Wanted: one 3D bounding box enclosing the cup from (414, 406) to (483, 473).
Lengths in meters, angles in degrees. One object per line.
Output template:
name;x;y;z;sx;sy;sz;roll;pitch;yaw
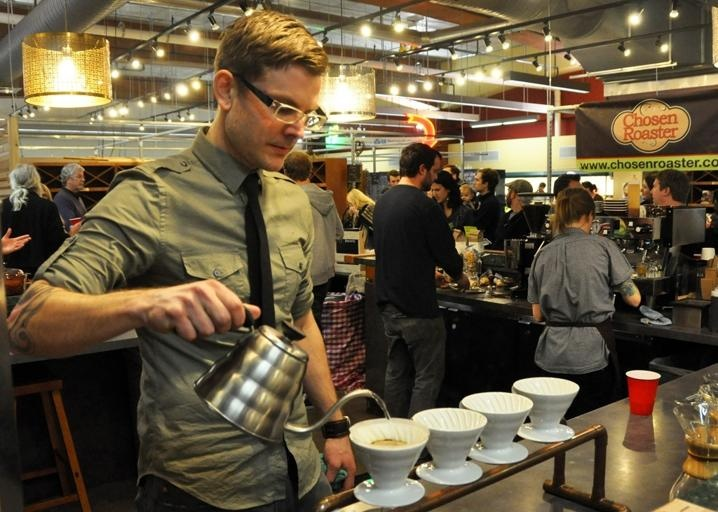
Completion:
cup;0.217;0.430;1.321;0.169;0.085;0.139;-1;-1;0

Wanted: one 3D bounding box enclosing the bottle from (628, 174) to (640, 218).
bottle;2.102;-0.428;4.152;0.101;0.253;0.072;0;3;23

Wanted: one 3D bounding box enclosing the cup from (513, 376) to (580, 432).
cup;0.527;0.436;1.545;0.203;0.128;0.203;4;-12;1

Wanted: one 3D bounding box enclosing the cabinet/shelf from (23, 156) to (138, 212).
cabinet/shelf;-5.772;-1.390;11.592;2.419;1.186;0.726;0;1;-2

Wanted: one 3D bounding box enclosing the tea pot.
tea pot;-0.234;0.286;1.208;0.228;0.236;0.115;-6;9;-38

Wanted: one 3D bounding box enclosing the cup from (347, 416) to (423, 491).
cup;0.070;0.476;1.248;0.181;0.115;0.183;0;-5;0

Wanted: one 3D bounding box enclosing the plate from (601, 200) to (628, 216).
plate;2.019;-0.385;4.289;0.160;0.073;0.148;-1;2;3

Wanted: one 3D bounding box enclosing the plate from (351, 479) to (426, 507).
plate;0.066;0.540;1.233;0.159;0.047;0.119;-1;7;-3

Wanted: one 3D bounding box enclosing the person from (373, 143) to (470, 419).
person;0.426;0.225;4.168;0.603;2.193;0.505;6;10;43

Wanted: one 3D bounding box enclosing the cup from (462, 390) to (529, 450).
cup;0.380;0.436;1.400;0.140;0.079;0.129;-4;-4;0

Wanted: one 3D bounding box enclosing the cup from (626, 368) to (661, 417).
cup;1.115;0.552;2.146;0.138;0.133;0.135;6;-9;1
